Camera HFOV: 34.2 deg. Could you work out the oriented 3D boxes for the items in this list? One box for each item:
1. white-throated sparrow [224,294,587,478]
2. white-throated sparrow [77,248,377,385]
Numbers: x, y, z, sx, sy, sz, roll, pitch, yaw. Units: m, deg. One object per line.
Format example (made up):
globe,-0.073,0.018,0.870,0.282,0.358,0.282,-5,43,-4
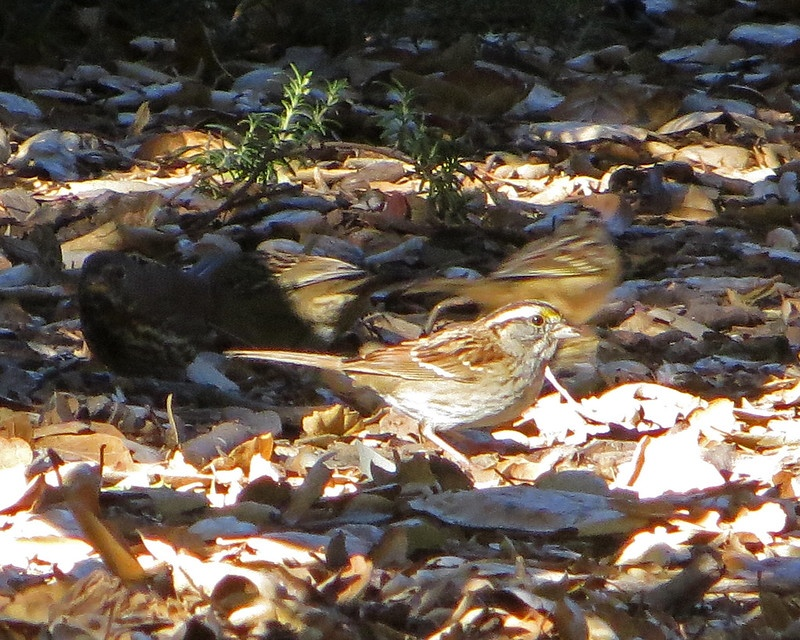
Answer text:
white-throated sparrow,0.112,0.197,3.526,0.780,0.484,0.169,-5,16,17
white-throated sparrow,-0.517,-0.004,4.044,0.889,0.276,0.438,-13,-22,-20
